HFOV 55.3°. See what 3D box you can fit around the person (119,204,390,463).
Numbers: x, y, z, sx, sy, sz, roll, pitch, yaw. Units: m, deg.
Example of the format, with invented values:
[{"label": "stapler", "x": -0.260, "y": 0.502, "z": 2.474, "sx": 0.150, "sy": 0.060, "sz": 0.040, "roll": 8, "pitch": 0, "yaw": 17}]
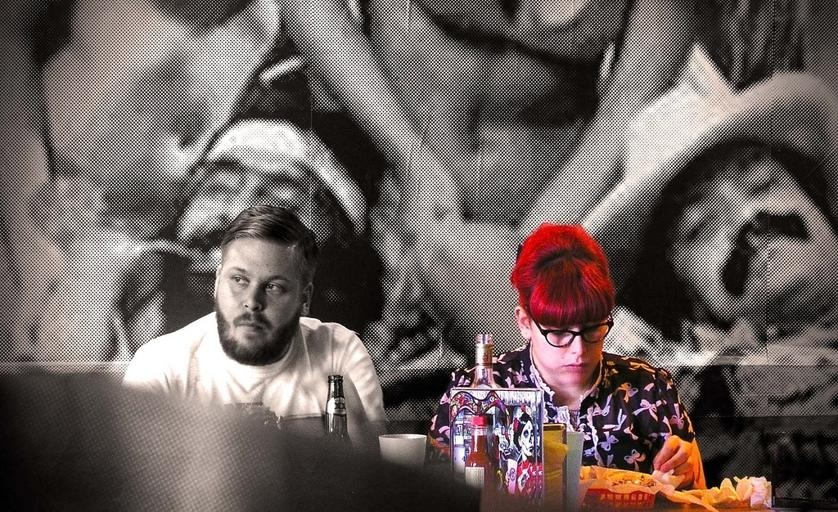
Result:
[{"label": "person", "x": -0.815, "y": 0.372, "z": 3.954, "sx": 1.263, "sy": 1.133, "sz": 0.739, "roll": 3, "pitch": 4, "yaw": -10}]
